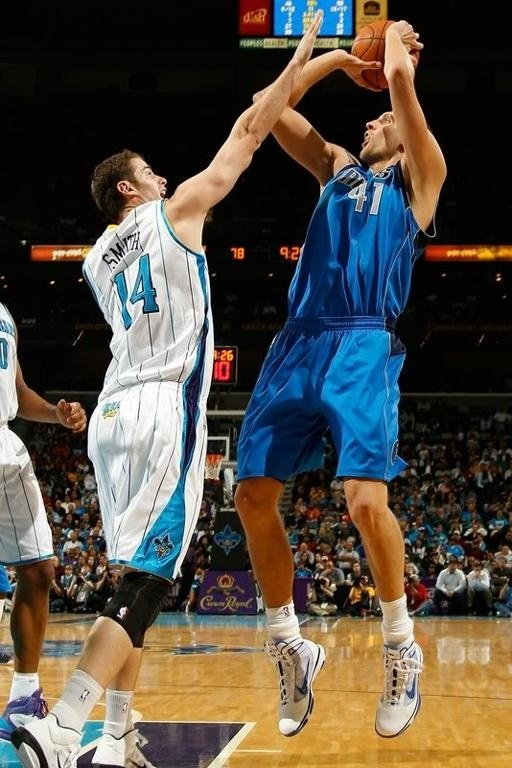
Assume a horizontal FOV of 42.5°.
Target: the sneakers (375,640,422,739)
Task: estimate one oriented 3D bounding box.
[{"bbox_3d":[0.522,1.001,2.285,0.132,0.155,0.375,-4,46,27],"label":"sneakers"}]
